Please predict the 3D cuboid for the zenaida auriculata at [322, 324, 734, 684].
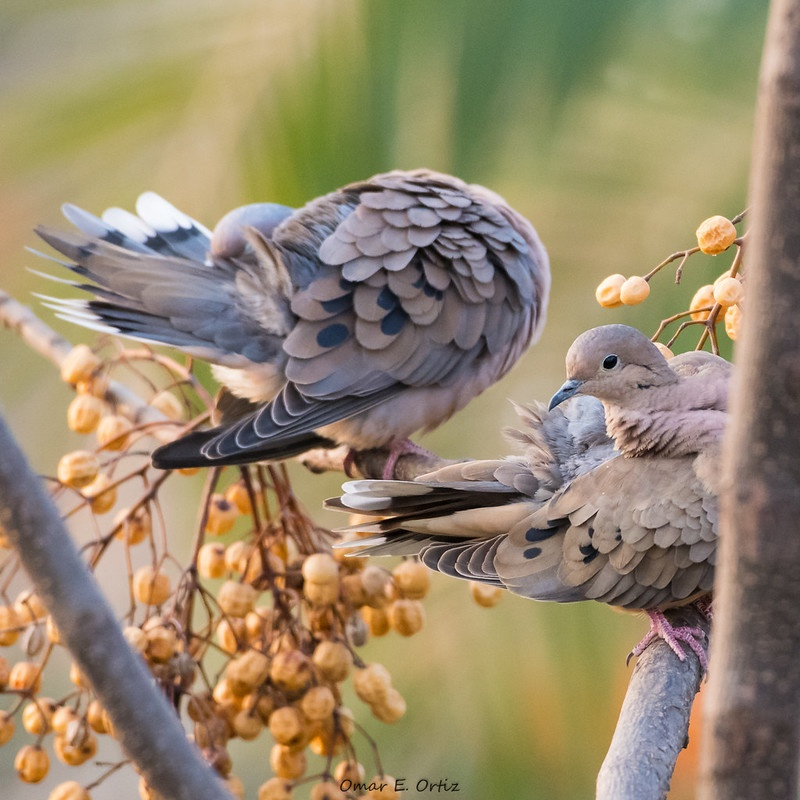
[{"bbox_3d":[0.408,0.173,3.692,1.238,0.757,0.667,-3,32,20],"label":"zenaida auriculata"}]
